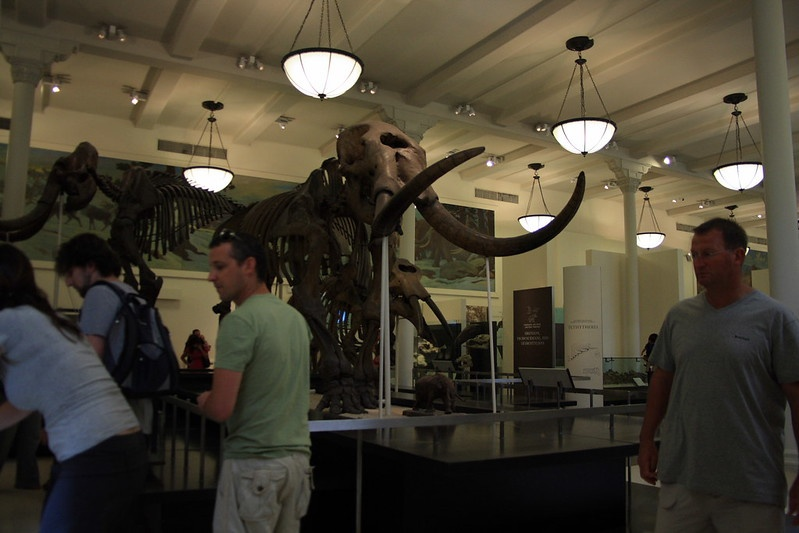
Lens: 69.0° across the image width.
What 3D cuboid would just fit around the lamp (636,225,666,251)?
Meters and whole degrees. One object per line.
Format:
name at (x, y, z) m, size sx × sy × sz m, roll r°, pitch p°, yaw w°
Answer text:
lamp at (8.570, -1.006, 19.864) m, size 0.903 × 0.418 × 0.905 m, roll 3°, pitch -12°, yaw -8°

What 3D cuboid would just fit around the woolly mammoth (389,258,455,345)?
woolly mammoth at (0.146, 0.337, 5.505) m, size 0.512 × 0.361 × 1.094 m, roll -5°, pitch 35°, yaw -23°

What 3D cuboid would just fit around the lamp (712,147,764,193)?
lamp at (7.535, -2.090, 12.955) m, size 0.867 × 0.774 × 1.207 m, roll -5°, pitch -9°, yaw 29°

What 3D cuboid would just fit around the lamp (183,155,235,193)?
lamp at (-4.059, -2.015, 13.259) m, size 1.182 × 0.609 × 1.200 m, roll 18°, pitch 6°, yaw 17°

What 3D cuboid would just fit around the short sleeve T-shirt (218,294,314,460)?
short sleeve T-shirt at (-0.764, 0.622, 3.331) m, size 0.455 × 0.915 × 0.759 m, roll -4°, pitch -9°, yaw 24°
